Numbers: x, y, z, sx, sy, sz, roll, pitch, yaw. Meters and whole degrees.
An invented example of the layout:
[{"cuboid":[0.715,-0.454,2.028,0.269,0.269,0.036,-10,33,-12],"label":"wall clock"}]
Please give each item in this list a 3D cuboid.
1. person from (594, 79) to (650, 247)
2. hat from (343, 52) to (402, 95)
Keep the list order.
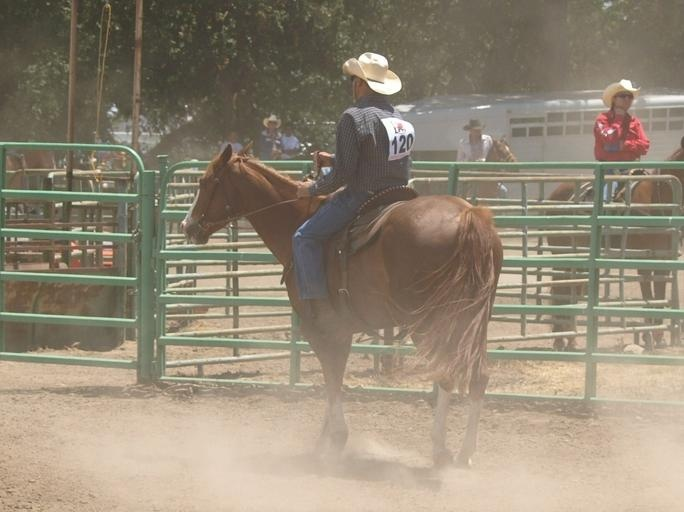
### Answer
[{"cuboid":[4.074,-1.687,15.930,0.763,1.749,0.838,0,5,13],"label":"person"},{"cuboid":[0.339,-2.095,12.547,0.632,0.498,0.405,-1,5,0],"label":"hat"}]
